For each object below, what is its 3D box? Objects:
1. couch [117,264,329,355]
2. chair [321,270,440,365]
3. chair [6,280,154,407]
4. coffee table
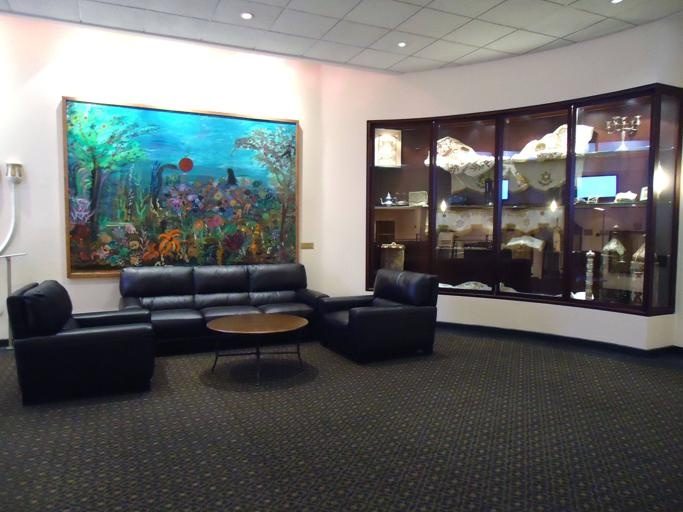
[{"bbox_3d":[-1.614,0.721,6.970,2.780,1.085,1.044,-1,6,-28],"label":"couch"},{"bbox_3d":[0.478,0.758,6.623,1.219,1.115,1.296,0,2,-26],"label":"chair"},{"bbox_3d":[-2.737,0.893,5.394,1.289,1.163,1.340,-3,6,-25],"label":"chair"},{"bbox_3d":[-1.000,1.096,5.916,1.245,0.604,1.242,-2,3,-13],"label":"coffee table"}]
